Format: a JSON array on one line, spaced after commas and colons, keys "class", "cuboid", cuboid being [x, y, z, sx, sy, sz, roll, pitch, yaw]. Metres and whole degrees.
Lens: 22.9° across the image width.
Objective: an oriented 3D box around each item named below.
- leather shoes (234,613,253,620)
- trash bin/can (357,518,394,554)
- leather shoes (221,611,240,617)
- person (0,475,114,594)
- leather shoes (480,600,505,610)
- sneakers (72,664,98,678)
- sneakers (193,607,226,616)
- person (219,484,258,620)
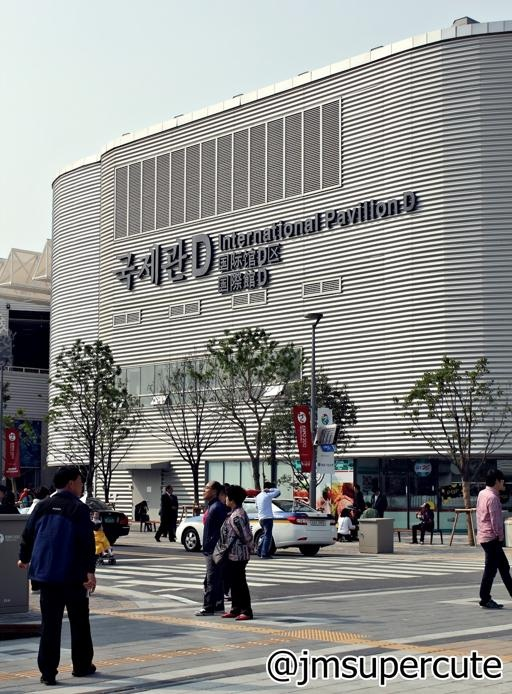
[{"class": "leather shoes", "cuboid": [-0.144, 3.040, 14.247, 0.180, 0.054, 0.078, 5, -38, 14]}, {"class": "trash bin/can", "cuboid": [2.788, 4.356, 29.133, 0.773, 0.808, 0.818, -1, -10, 4]}, {"class": "leather shoes", "cuboid": [-0.279, 3.067, 14.511, 0.218, 0.101, 0.084, -3, -22, 26]}, {"class": "person", "cuboid": [-1.699, 1.555, 10.794, 0.651, 1.073, 0.418, -1, -9, 4]}, {"class": "leather shoes", "cuboid": [2.848, 3.105, 15.211, 0.239, 0.117, 0.108, -1, -3, -4]}, {"class": "sneakers", "cuboid": [-1.460, 2.749, 10.740, 0.075, 0.103, 0.228, 0, 0, 31]}, {"class": "sneakers", "cuboid": [-0.541, 3.146, 14.994, 0.352, 0.166, 0.125, 6, -16, -12]}, {"class": "person", "cuboid": [-0.240, 2.376, 14.702, 0.394, 1.545, 0.907, 0, -10, -2]}]
